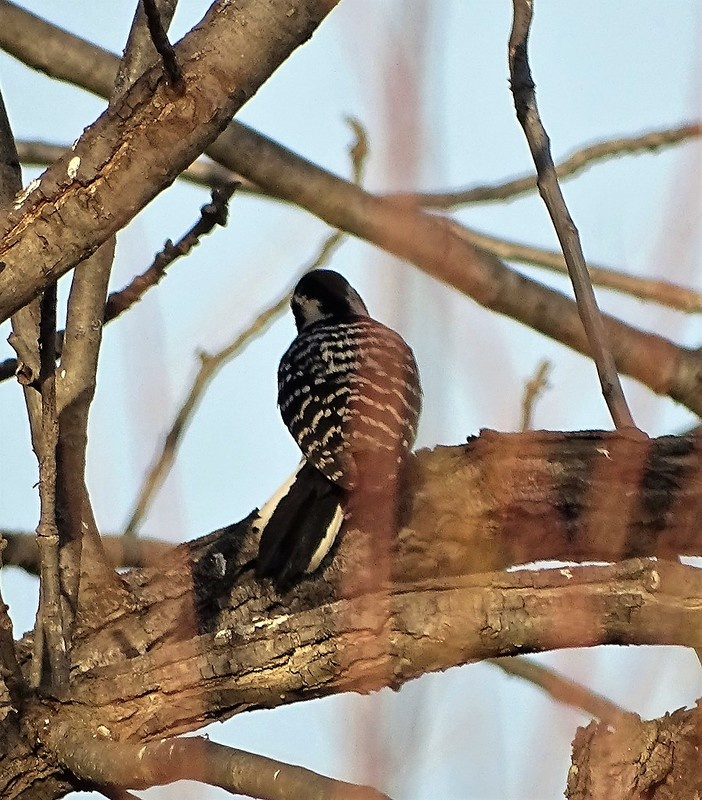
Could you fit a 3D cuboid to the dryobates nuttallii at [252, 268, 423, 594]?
[{"bbox_3d":[-0.068,0.113,6.850,0.321,1.329,0.840,-7,-54,9],"label":"dryobates nuttallii"}]
